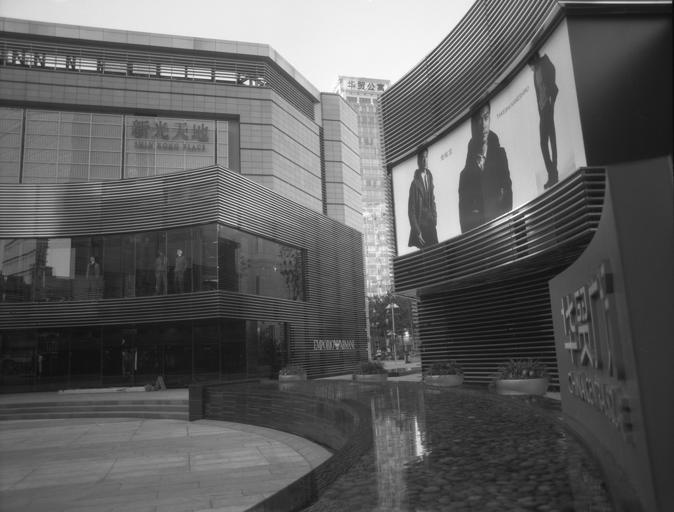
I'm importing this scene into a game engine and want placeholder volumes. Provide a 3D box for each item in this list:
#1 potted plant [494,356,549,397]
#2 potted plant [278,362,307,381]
[{"bbox_3d":[5.412,3.766,15.329,1.460,1.139,1.508,-14,-27,36],"label":"potted plant"},{"bbox_3d":[-2.053,5.423,24.022,0.896,0.628,0.965,-2,-10,9],"label":"potted plant"}]
